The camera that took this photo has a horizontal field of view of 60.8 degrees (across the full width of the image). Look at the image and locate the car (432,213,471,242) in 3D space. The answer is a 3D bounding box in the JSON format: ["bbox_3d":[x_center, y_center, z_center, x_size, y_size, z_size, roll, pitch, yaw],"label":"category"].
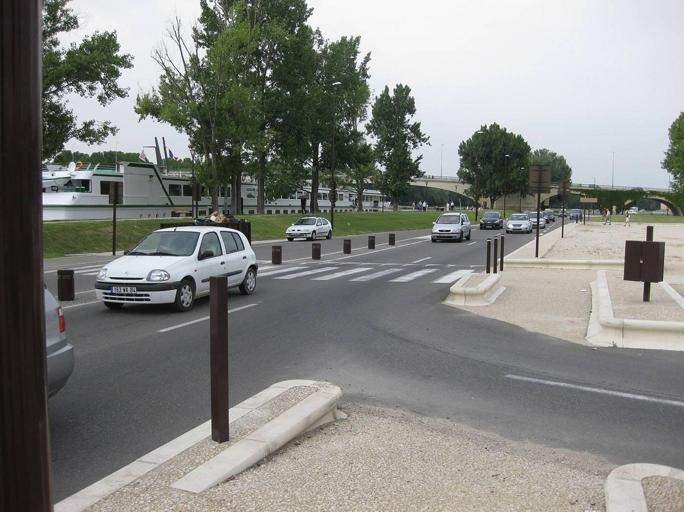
[{"bbox_3d":[7.340,-1.865,38.427,1.433,1.292,2.926,-1,1,18],"label":"car"}]

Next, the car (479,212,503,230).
[{"bbox_3d":[14.391,-3.255,55.777,1.267,1.228,3.259,-1,2,16],"label":"car"}]

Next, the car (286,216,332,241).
[{"bbox_3d":[-2.074,-1.854,40.392,1.507,1.091,2.985,-1,0,20],"label":"car"}]

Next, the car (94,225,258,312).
[{"bbox_3d":[-3.559,0.229,12.924,1.593,1.711,3.429,3,5,27],"label":"car"}]
